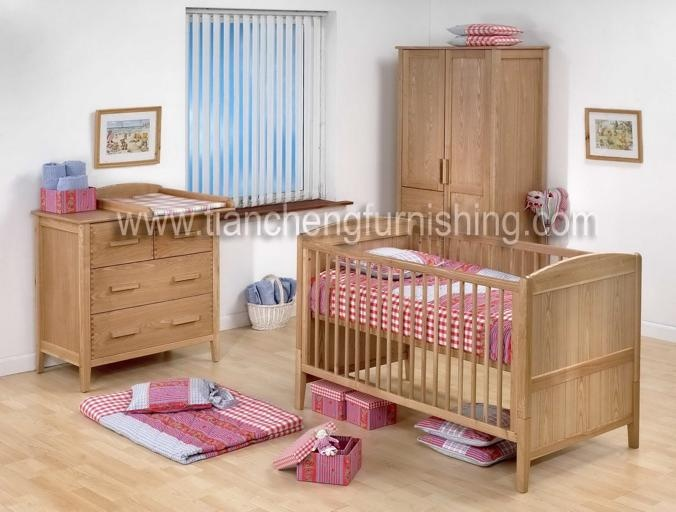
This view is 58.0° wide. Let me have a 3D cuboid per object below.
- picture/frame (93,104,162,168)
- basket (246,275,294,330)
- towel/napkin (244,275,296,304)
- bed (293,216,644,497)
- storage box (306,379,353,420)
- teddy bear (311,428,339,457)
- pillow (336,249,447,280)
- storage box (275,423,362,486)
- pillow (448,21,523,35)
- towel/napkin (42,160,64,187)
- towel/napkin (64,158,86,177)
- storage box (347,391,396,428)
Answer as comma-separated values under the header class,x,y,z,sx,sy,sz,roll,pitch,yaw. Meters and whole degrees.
class,x,y,z,sx,sy,sz,roll,pitch,yaw
picture/frame,-1.391,-0.786,3.948,0.437,0.349,0.018,-7,11,-39
basket,-0.517,0.349,4.683,0.381,0.390,0.278,-2,10,-12
towel/napkin,-0.520,0.244,4.655,0.296,0.140,0.221,-5,6,-37
bed,0.575,0.314,3.239,1.109,1.062,1.724,-12,16,-43
storage box,-0.048,0.705,3.258,0.159,0.171,0.274,-5,9,-41
teddy bear,-0.060,0.804,2.604,0.095,0.108,0.039,-36,-4,-45
pillow,0.280,0.035,3.323,0.276,0.071,0.302,-11,19,-42
storage box,-0.087,0.814,2.622,0.310,0.154,0.238,4,12,20
pillow,1.074,-1.671,4.496,0.500,0.108,0.207,3,10,14
towel/napkin,-1.690,-0.491,3.586,0.144,0.143,0.135,6,7,8
towel/napkin,-1.592,-0.532,3.682,0.120,0.088,0.134,-3,11,-17
storage box,0.162,0.788,3.150,0.187,0.111,0.186,-5,9,-40
